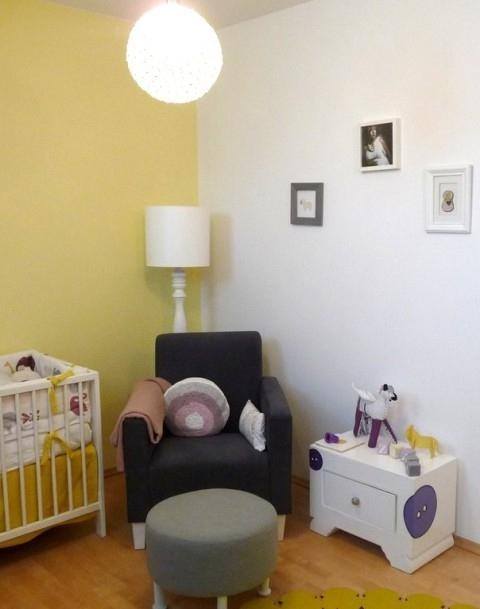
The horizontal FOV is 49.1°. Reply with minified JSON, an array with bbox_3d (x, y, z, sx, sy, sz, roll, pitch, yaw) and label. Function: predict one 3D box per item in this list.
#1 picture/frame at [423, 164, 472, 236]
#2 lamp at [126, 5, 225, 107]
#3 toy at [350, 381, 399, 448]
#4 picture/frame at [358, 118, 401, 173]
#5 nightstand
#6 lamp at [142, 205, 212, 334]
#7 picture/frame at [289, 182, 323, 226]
[{"bbox_3d":[0.852,-0.430,2.129,0.027,0.354,0.198,-7,11,-38],"label":"picture/frame"},{"bbox_3d":[-0.156,-0.599,1.407,0.197,0.409,0.232,2,3,5],"label":"lamp"},{"bbox_3d":[0.608,0.492,2.430,0.146,0.359,0.258,-2,4,-29],"label":"toy"},{"bbox_3d":[0.632,-0.714,2.349,0.026,0.280,0.205,-12,5,-29],"label":"picture/frame"},{"bbox_3d":[0.645,0.645,2.260,0.326,0.510,0.557,-4,6,-41],"label":"nightstand"},{"bbox_3d":[-0.383,-0.188,2.971,0.414,0.698,0.288,1,3,38],"label":"lamp"},{"bbox_3d":[0.354,-0.526,2.734,0.014,0.257,0.164,-8,12,-43],"label":"picture/frame"}]
